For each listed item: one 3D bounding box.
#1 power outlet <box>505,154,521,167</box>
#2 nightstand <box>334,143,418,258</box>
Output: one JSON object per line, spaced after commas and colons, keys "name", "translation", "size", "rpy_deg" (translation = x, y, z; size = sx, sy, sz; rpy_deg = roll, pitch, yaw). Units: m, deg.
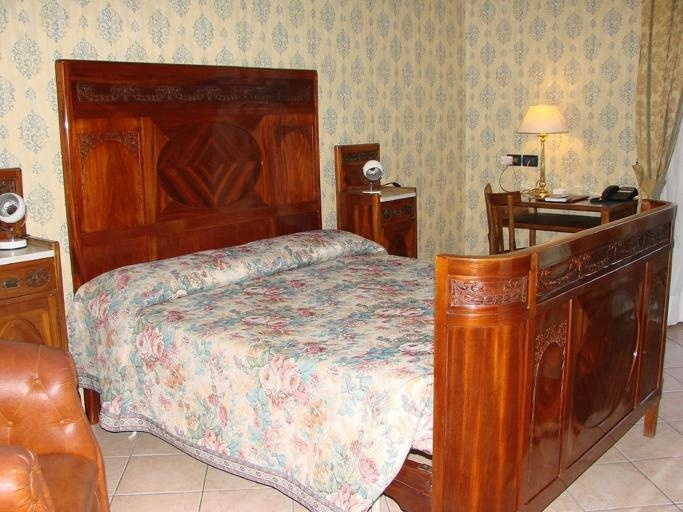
{"name": "power outlet", "translation": [1.777, -0.984, 5.472], "size": [0.146, 0.115, 0.208], "rpy_deg": [-2, 11, -22]}
{"name": "nightstand", "translation": [0.259, -0.443, 4.415], "size": [0.480, 1.487, 0.697], "rpy_deg": [8, 18, 32]}
